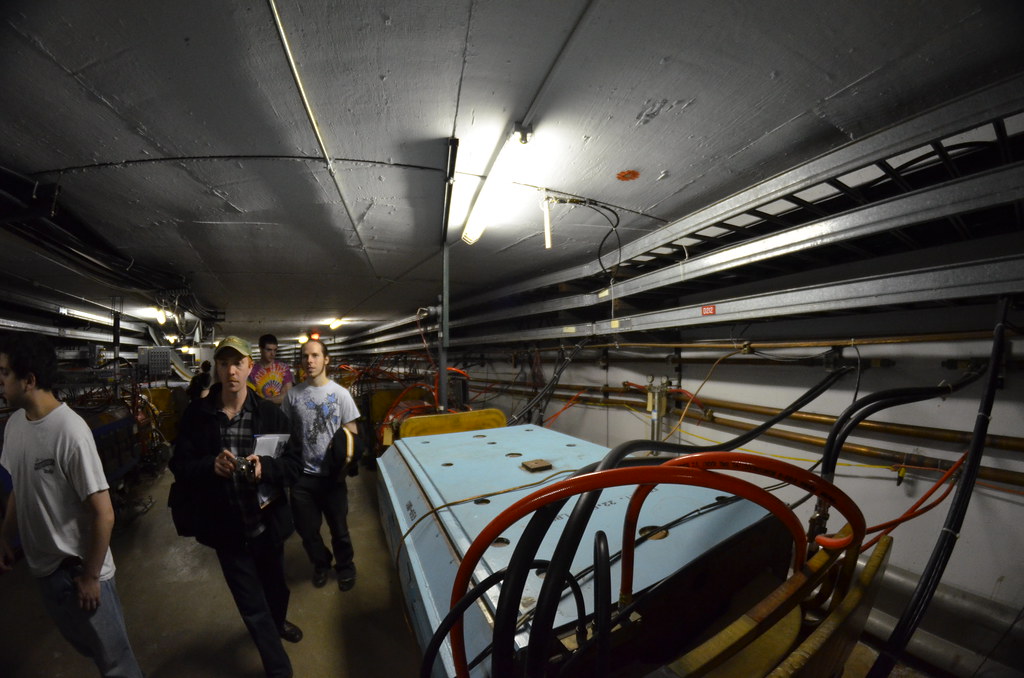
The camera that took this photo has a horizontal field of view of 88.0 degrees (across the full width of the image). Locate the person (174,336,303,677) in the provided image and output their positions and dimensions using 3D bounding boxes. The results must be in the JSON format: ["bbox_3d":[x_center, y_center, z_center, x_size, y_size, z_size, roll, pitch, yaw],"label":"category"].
[{"bbox_3d":[-1.764,1.057,3.401,0.773,2.012,0.379,5,-2,-29],"label":"person"}]

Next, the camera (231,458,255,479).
[{"bbox_3d":[-1.656,0.796,3.284,0.118,0.115,0.033,4,-2,-18],"label":"camera"}]

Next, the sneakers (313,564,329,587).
[{"bbox_3d":[-1.490,1.843,4.170,0.139,0.127,0.128,5,-2,-32],"label":"sneakers"}]

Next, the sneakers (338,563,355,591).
[{"bbox_3d":[-1.291,1.842,4.129,0.136,0.155,0.140,4,-2,-16],"label":"sneakers"}]
